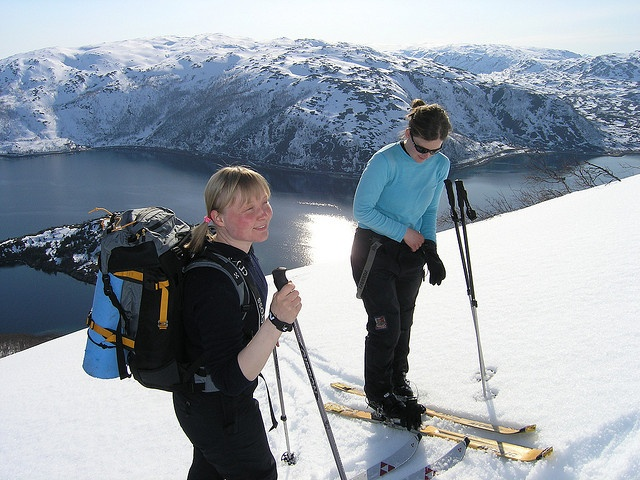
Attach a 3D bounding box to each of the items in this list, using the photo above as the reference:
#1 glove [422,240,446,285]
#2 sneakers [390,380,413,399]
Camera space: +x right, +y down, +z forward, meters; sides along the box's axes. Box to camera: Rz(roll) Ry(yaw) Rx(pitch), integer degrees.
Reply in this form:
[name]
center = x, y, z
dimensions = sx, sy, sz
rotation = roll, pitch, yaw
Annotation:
[glove]
center = 1.418, 0.284, 5.957
dimensions = 0.186, 0.594, 0.232
rotation = -8, -3, -39
[sneakers]
center = 1.061, 1.859, 6.073
dimensions = 0.235, 0.234, 0.168
rotation = -14, -3, -27
